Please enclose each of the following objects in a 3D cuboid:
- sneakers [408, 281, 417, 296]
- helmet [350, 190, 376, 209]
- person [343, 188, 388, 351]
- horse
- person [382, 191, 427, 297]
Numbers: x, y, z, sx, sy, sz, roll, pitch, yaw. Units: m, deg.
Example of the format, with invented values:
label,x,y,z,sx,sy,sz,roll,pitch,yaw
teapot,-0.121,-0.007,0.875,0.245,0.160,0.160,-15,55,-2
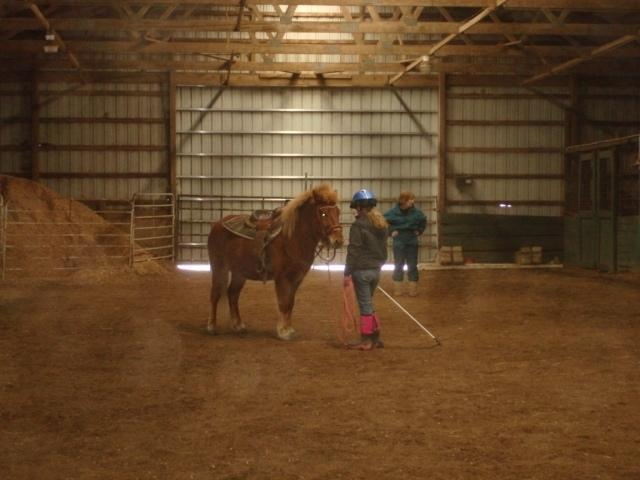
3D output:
label,x,y,z,sx,sy,sz,roll,pitch,yaw
sneakers,1.826,0.941,16.841,0.220,0.361,0.249,0,-3,7
helmet,0.624,-0.619,12.649,0.231,0.300,0.317,0,-13,-28
person,0.650,0.449,12.569,0.514,2.266,0.631,6,14,30
horse,-0.783,0.467,14.719,2.378,2.242,0.881,-2,-7,34
person,1.624,0.108,16.463,0.730,2.198,1.100,1,12,6
